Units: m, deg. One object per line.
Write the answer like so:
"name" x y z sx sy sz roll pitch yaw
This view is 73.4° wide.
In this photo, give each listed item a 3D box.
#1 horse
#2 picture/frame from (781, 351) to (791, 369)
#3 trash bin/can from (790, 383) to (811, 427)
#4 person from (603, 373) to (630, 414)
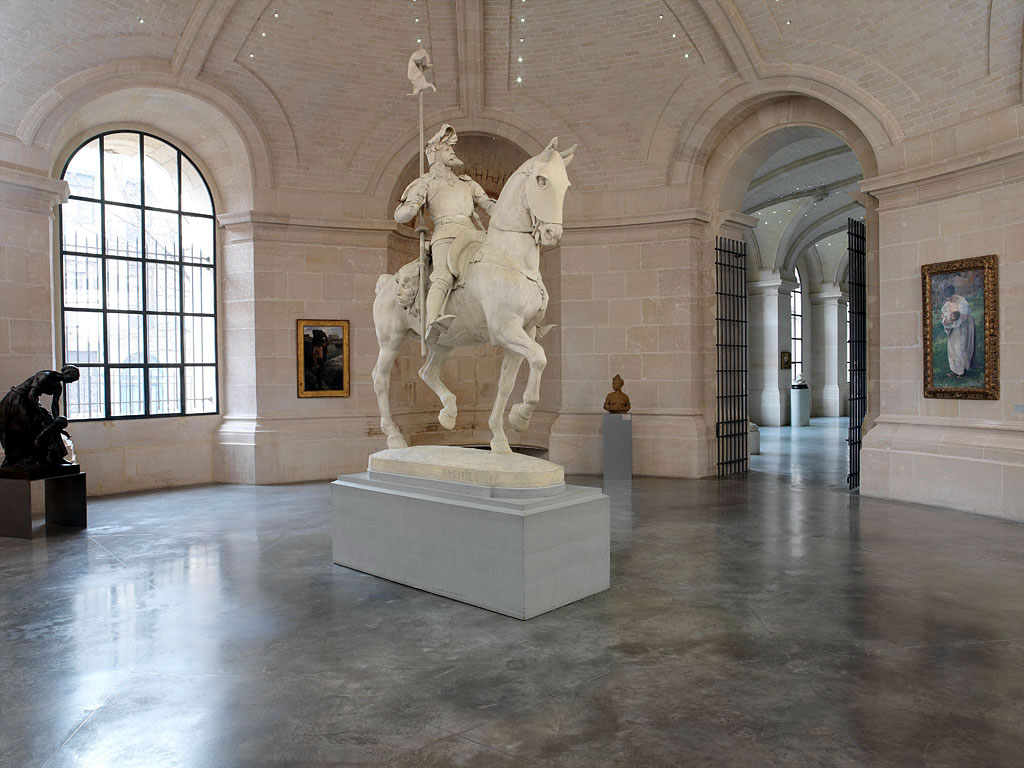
"horse" -0.250 -0.914 6.400 2.198 3.054 1.324 1 4 33
"picture/frame" 7.655 -0.693 19.179 0.162 0.474 0.489 -2 -1 39
"trash bin/can" 8.095 0.545 19.214 0.476 1.103 1.114 0 3 21
"person" 1.560 0.139 10.121 0.377 0.550 0.732 0 3 10
